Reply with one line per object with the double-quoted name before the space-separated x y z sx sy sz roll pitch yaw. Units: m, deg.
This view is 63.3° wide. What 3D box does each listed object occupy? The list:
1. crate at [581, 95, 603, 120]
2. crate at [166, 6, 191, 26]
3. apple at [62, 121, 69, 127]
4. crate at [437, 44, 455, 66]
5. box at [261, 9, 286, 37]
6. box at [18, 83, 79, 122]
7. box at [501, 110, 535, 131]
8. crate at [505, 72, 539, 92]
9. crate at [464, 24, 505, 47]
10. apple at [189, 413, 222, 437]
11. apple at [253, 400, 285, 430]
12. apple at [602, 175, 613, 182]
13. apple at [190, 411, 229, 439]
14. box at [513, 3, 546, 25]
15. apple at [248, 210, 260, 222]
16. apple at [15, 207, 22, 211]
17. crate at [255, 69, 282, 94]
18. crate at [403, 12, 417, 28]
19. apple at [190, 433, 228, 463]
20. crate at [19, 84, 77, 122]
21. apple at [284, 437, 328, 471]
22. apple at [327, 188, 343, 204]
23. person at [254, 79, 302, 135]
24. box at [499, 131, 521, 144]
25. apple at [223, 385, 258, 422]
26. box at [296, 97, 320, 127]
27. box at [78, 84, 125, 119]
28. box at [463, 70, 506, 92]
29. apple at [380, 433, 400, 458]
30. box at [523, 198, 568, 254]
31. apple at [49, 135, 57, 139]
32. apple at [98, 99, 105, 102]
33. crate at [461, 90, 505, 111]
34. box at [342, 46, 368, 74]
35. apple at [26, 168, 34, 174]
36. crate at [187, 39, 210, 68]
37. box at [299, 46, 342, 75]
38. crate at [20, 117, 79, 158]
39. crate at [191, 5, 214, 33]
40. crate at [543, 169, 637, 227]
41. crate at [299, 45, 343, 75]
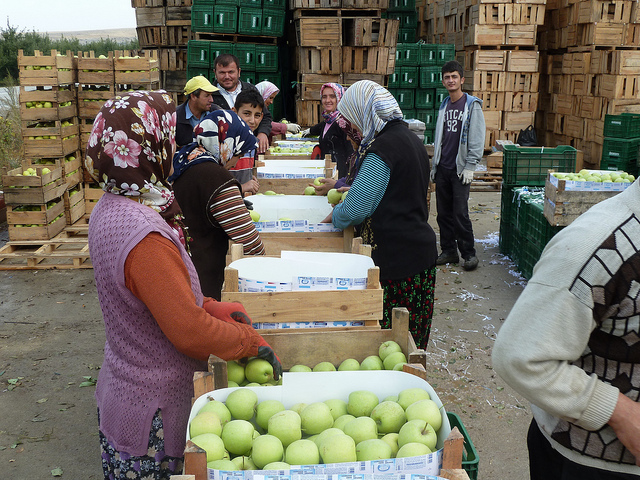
"crate" 6.447 -3.153 12.305 0.335 0.488 0.642 3 16 10
"crate" -3.441 -5.398 12.555 0.497 0.320 0.509 -1 7 -3
"apple" -4.313 -1.976 8.796 0.110 0.113 0.048 -2 -11 -34
"crate" 3.208 -4.761 13.358 0.454 0.502 0.315 -6 19 -12
"box" -1.093 -4.953 11.822 0.549 0.527 0.557 1 18 -9
"box" -4.740 -2.360 8.717 0.591 0.498 1.070 -5 21 -30
"box" 5.159 -3.143 13.877 0.639 0.416 0.655 0 14 3
"crate" 5.174 -4.033 13.259 0.576 0.589 0.368 0 24 6
"crate" 4.202 -5.246 13.245 0.696 0.452 0.718 1 16 7
"apple" -0.480 0.763 2.149 0.117 0.097 0.095 -10 -15 -23
"apple" -0.230 0.763 2.330 0.133 0.115 0.113 3 42 -15
"apple" 3.462 -0.751 6.278 0.068 0.074 0.091 -28 26 -26
"apple" -0.472 0.763 2.153 0.121 0.100 0.105 -14 -26 -4
"box" 5.176 -5.615 12.921 0.569 0.598 0.365 -2 29 1
"apple" -0.553 -0.210 4.310 0.057 0.084 0.083 20 60 14
"apple" -4.732 -0.485 8.104 0.084 0.056 0.019 5 1 -13
"crate" -1.159 -3.771 12.182 0.408 0.362 0.840 7 21 26
"crate" 2.831 -7.090 16.815 0.512 0.527 0.324 -5 -1 -11
"apple" -0.445 0.824 2.099 0.103 0.104 0.125 -37 -37 30
"crate" -4.613 -2.287 8.688 0.740 0.532 0.950 -5 15 -22
"apple" -0.064 0.864 2.112 0.114 0.113 0.115 13 40 -10
"apple" 0.114 -0.374 4.415 0.088 0.151 0.183 -8 19 -17
"person" -0.820 -2.699 10.025 1.040 0.674 1.059 0 58 -2
"box" 5.003 -2.778 13.784 0.381 0.394 0.240 2 -5 12
"apple" -0.354 0.743 2.356 0.122 0.142 0.130 -3 3 32
"box" -0.430 -2.977 12.100 0.510 0.453 0.547 9 14 23
"box" -3.833 -2.370 8.870 0.747 0.578 0.209 3 19 15
"box" 4.285 -4.152 13.541 0.705 0.450 0.716 -1 16 -5
"apple" 0.290 0.853 2.191 0.067 0.084 0.069 -9 21 -3
"box" 2.962 -0.197 7.232 0.364 0.411 0.602 6 -25 -28
"apple" -4.372 -1.685 8.469 0.056 0.059 0.075 5 -3 0
"apple" -3.720 -2.378 8.840 0.130 0.041 0.049 11 22 34
"crate" 4.464 -3.670 13.571 0.837 0.537 0.854 0 20 3
"box" 0.725 -3.985 11.304 0.554 0.586 0.354 3 8 1
"apple" -4.662 -1.120 8.333 0.072 0.088 0.074 -13 -29 6
"crate" -2.730 -4.085 11.474 0.528 0.529 0.532 -1 13 -17
"box" 0.014 -3.932 11.689 0.696 0.450 0.710 0 12 0
"crate" -4.530 -1.666 8.635 0.694 0.456 0.713 -3 15 -7
"crate" -2.584 -4.826 11.298 0.512 0.331 0.524 0 14 -2
"crate" 3.060 -0.426 6.020 1.037 0.567 1.063 -1 9 3
"crate" 0.015 -3.976 11.436 0.699 0.444 0.710 -1 10 -7
